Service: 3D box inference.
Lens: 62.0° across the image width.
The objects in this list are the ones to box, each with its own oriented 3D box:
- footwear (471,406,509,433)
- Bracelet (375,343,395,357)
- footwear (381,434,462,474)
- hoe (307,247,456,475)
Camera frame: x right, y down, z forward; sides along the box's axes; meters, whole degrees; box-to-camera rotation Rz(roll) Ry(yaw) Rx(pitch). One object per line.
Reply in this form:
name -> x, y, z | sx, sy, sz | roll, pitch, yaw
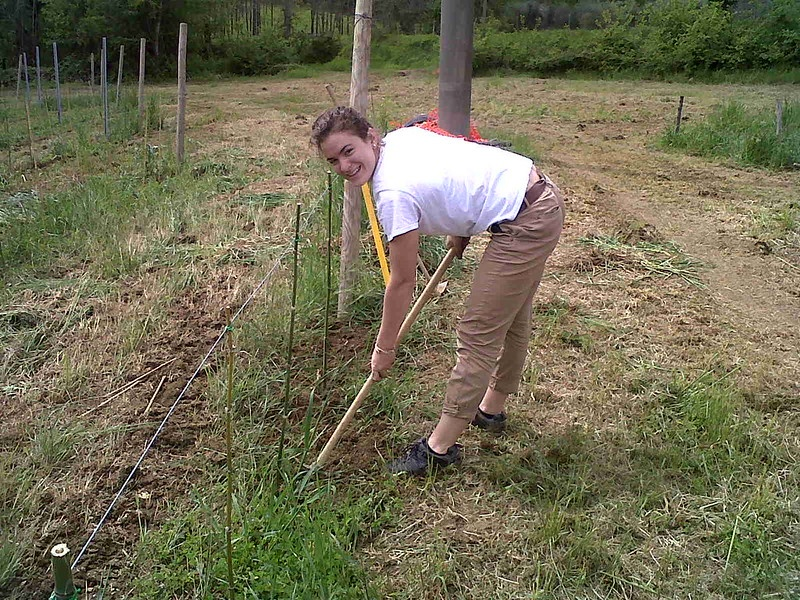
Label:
footwear -> 0.569, 0.769, 4.274 | 0.265, 0.119, 0.104 | 12, 40, 7
Bracelet -> -0.093, 0.276, 3.658 | 0.086, 0.050, 0.071 | 0, -4, 16
footwear -> 0.124, 0.929, 4.023 | 0.483, 0.225, 0.178 | -9, 14, 3
hoe -> -0.148, 0.451, 4.398 | 0.111, 1.672, 0.084 | 32, 6, -23
